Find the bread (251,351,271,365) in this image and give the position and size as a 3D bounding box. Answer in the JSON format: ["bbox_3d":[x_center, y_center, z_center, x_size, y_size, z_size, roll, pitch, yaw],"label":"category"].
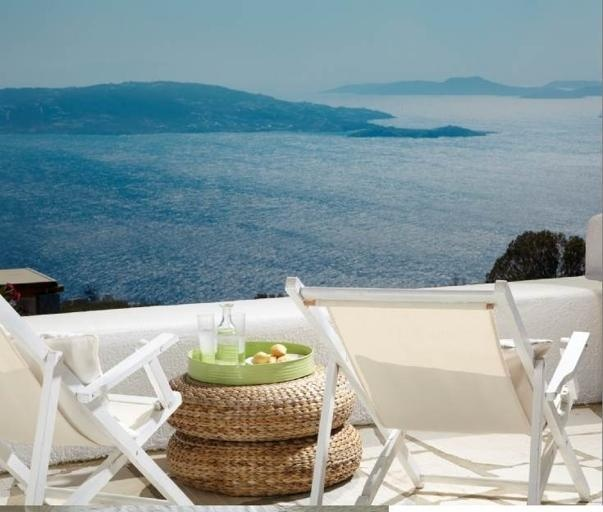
[{"bbox_3d":[-0.170,0.429,2.549,0.061,0.031,0.051,-2,11,-1],"label":"bread"}]

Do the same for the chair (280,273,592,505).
[{"bbox_3d":[0.537,0.401,2.162,0.797,0.705,0.993,-2,6,23],"label":"chair"}]

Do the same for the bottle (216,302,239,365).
[{"bbox_3d":[-0.328,0.315,2.587,0.103,0.217,0.259,-9,14,-7],"label":"bottle"}]

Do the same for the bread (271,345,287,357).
[{"bbox_3d":[-0.095,0.411,2.621,0.047,0.041,0.057,-4,7,-17],"label":"bread"}]
